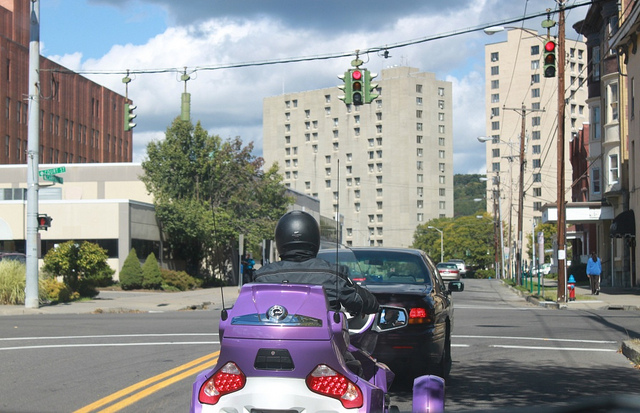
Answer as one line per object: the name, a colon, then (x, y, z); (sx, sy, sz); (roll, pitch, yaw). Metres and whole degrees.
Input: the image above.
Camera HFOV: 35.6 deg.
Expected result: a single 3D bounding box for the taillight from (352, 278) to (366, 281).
taillight: (1.557, 2.817, 38.655); (0.636, 0.118, 0.265); (2, -9, -31)
